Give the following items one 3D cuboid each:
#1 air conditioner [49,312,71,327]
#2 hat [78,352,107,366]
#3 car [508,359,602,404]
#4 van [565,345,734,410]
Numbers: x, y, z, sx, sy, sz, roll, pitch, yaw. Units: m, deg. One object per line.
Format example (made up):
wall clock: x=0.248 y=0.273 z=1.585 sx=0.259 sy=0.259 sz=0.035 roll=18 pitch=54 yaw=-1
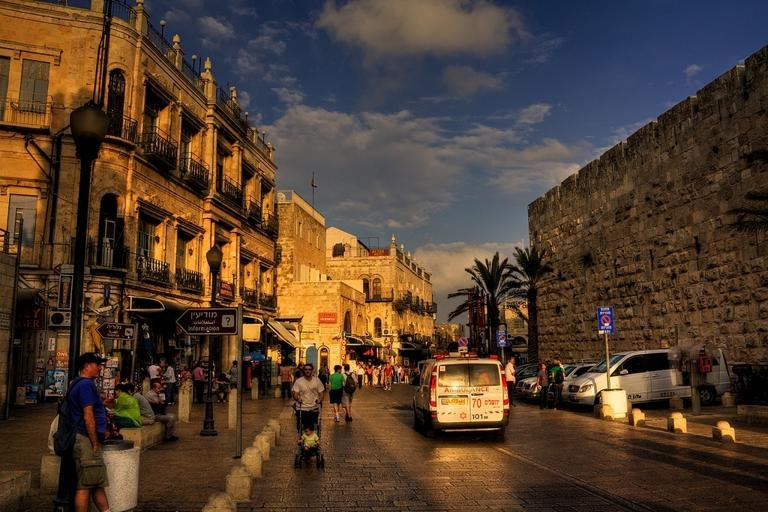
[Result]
air conditioner: x=-9.710 y=1.886 z=19.011 sx=0.587 sy=0.472 sz=0.620 roll=1 pitch=-6 yaw=-9
hat: x=-5.600 y=2.002 z=12.164 sx=0.260 sy=0.265 sz=0.489 roll=-15 pitch=-21 yaw=43
car: x=8.796 y=6.234 z=31.643 sx=4.070 sy=1.453 sz=1.900 roll=2 pitch=-9 yaw=-24
van: x=10.713 y=4.841 z=25.642 sx=6.096 sy=2.220 sz=1.931 roll=-2 pitch=-14 yaw=3
